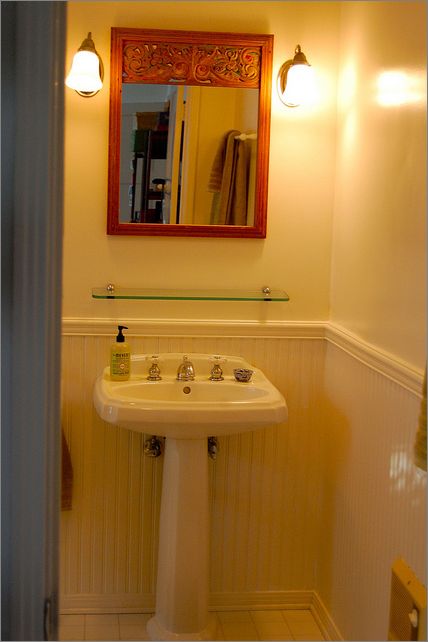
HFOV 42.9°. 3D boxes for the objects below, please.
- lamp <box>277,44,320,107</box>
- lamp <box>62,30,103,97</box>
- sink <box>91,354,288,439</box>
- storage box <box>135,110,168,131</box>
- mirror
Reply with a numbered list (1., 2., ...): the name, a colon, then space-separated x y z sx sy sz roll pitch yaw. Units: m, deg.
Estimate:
1. lamp: 0.280 -0.825 1.832 0.109 0.199 0.098 -6 22 -10
2. lamp: -0.425 -0.849 1.756 0.087 0.144 0.092 12 6 0
3. sink: -0.093 0.242 1.736 0.576 0.207 0.459 2 5 -8
4. storage box: -0.215 -0.694 1.877 0.072 0.049 0.075 -1 10 -10
5. mirror: -0.080 -0.625 1.874 0.518 0.741 0.111 2 -11 -1
